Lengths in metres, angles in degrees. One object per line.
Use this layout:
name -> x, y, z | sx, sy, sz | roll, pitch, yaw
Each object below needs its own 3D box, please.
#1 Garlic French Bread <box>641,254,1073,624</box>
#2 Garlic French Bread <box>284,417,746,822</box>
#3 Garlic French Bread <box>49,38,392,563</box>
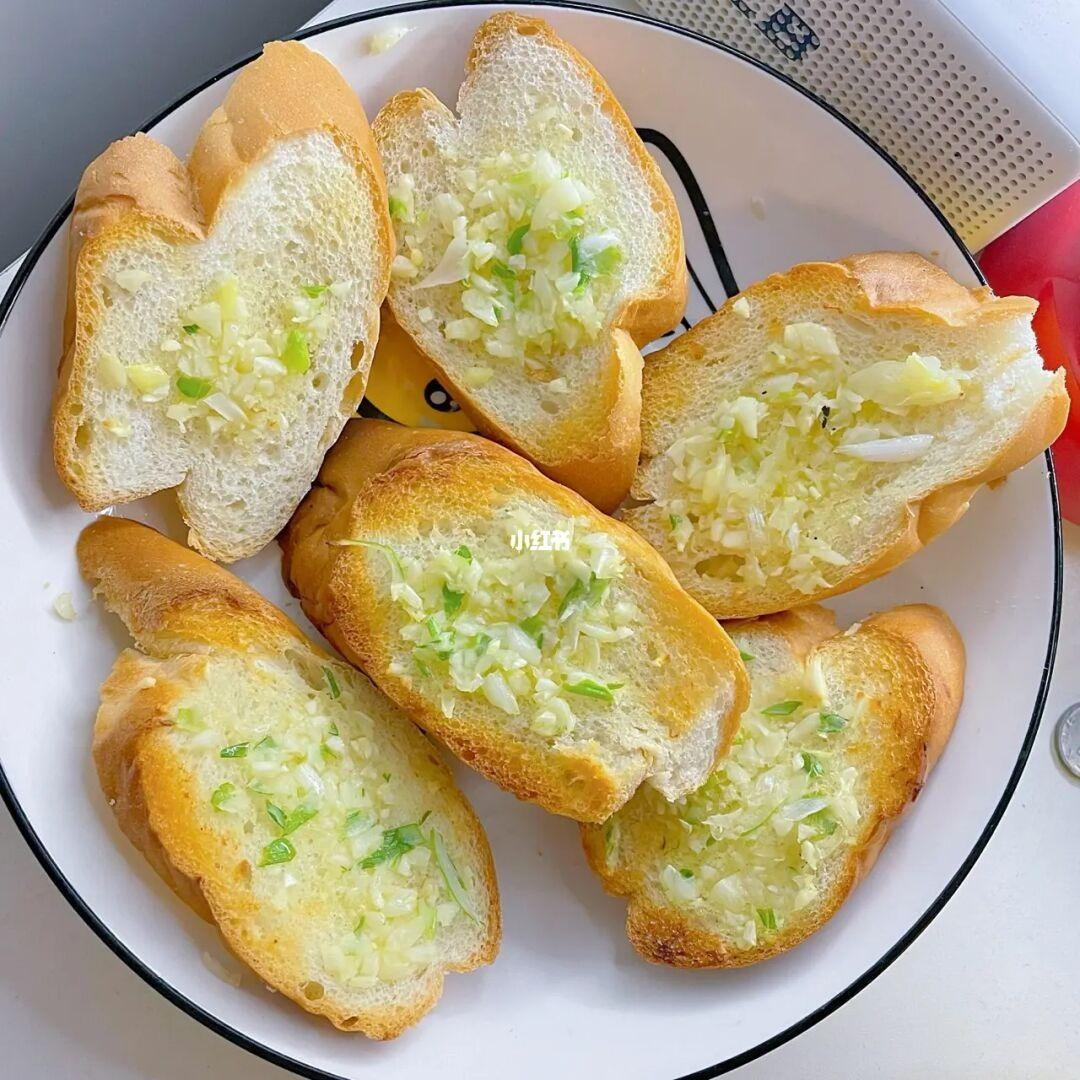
Garlic French Bread -> 0.351, -0.145, 1.479 | 0.514, 0.223, 0.391 | -34, 83, -10
Garlic French Bread -> -0.008, 0.104, 1.365 | 0.521, 0.127, 0.325 | 42, 78, 4
Garlic French Bread -> -0.364, -0.259, 1.400 | 0.436, 0.184, 0.539 | 8, 94, -12
